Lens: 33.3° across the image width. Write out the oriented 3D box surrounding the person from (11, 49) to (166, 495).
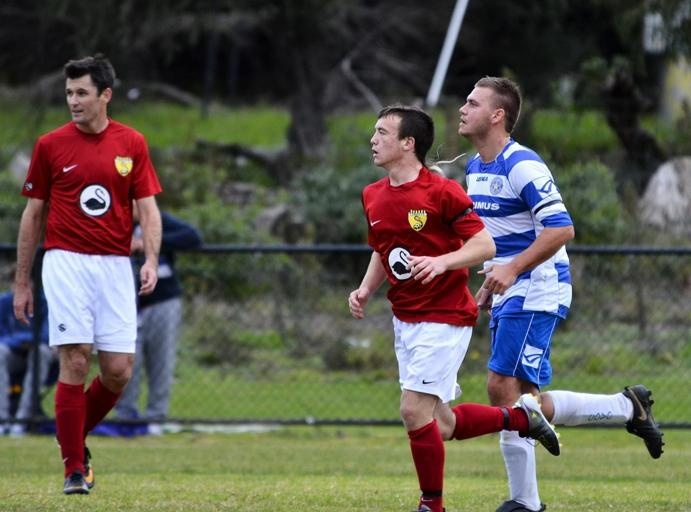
[{"bbox_3d":[-2.081,0.115,9.277,1.124,3.508,0.542,0,0,-19],"label":"person"}]
